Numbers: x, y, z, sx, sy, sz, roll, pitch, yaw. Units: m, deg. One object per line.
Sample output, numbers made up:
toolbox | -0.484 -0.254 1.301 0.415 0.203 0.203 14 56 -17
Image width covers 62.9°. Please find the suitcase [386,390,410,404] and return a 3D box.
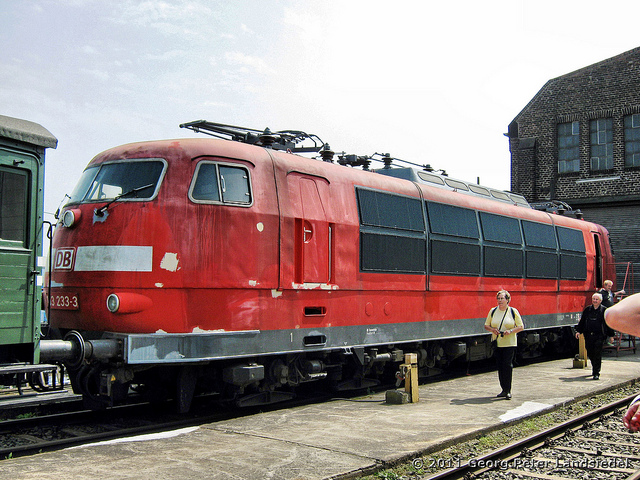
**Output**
suitcase | 1.457 2.899 9.734 0.272 0.168 0.288 -5 -7 32

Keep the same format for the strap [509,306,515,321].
strap | 3.841 1.472 10.490 0.080 0.220 0.106 1 -6 4

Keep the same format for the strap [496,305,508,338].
strap | 3.635 1.613 10.430 0.085 0.707 0.103 19 -30 11

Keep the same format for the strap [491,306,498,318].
strap | 3.586 1.487 10.648 0.116 0.154 0.163 -13 -44 33
